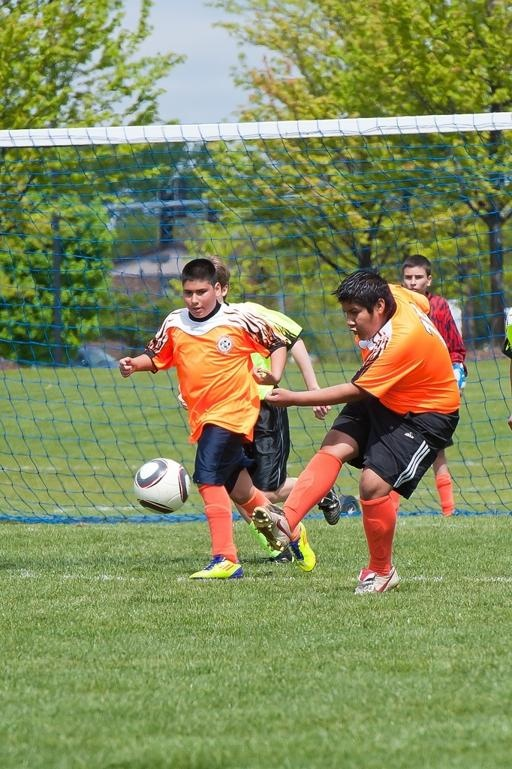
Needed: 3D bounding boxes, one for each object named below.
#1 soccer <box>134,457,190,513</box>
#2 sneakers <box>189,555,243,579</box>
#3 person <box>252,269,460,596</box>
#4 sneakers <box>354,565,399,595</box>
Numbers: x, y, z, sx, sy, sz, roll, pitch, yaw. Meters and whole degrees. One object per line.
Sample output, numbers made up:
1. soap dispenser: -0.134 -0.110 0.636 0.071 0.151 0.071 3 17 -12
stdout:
1. soccer: -0.513 0.517 5.093 0.364 0.265 0.305 -2 14 -8
2. sneakers: -0.157 0.855 4.560 0.299 0.094 0.088 2 -2 -12
3. person: 0.436 0.200 4.040 0.819 1.192 0.484 -1 0 6
4. sneakers: 0.522 0.814 4.136 0.227 0.078 0.076 -13 11 -35
